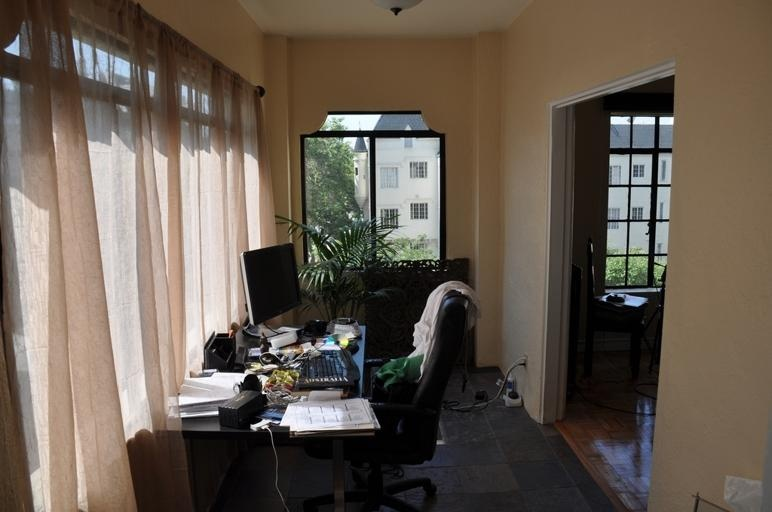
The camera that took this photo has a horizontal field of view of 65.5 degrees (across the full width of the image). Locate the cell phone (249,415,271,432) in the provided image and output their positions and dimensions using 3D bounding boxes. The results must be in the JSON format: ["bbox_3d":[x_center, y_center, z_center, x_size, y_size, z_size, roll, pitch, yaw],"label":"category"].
[{"bbox_3d":[-0.655,0.883,3.191,0.117,0.023,0.121,-2,15,-5],"label":"cell phone"}]

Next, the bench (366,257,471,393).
[{"bbox_3d":[0.256,0.602,5.149,0.868,1.363,0.323,3,14,-9],"label":"bench"}]

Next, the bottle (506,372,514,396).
[{"bbox_3d":[1.077,1.109,5.177,0.078,0.129,0.150,2,15,12],"label":"bottle"}]

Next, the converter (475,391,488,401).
[{"bbox_3d":[0.824,1.214,5.226,0.087,0.083,0.063,9,-10,-22],"label":"converter"}]

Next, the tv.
[{"bbox_3d":[-0.791,0.186,4.166,0.075,0.472,0.638,-6,5,22],"label":"tv"}]

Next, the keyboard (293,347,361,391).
[{"bbox_3d":[-0.369,0.705,3.723,0.412,0.128,0.507,1,18,-11],"label":"keyboard"}]

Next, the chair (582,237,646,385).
[{"bbox_3d":[2.143,0.532,5.645,0.538,1.177,0.463,4,15,18],"label":"chair"}]
